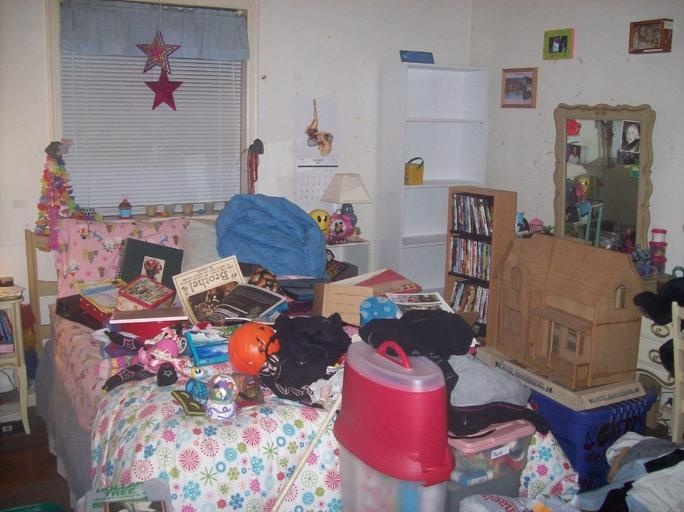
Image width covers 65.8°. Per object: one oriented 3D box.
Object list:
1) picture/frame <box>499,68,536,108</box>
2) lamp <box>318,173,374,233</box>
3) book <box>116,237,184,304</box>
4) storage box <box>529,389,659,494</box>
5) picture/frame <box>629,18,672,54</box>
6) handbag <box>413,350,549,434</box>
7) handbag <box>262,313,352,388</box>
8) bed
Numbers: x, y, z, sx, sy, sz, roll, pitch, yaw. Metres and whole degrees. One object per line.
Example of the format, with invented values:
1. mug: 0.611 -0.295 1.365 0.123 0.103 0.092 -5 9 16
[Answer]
1. picture/frame: 1.511 -1.446 4.528 0.026 0.359 0.370 -8 11 -35
2. lamp: 0.008 -0.505 4.318 0.301 0.270 0.300 -8 13 -37
3. book: -1.352 0.131 3.607 0.453 0.431 0.108 13 -12 -15
4. storage box: 1.371 0.950 2.952 0.499 0.489 0.624 -4 6 -25
5. picture/frame: 2.105 -1.501 3.599 0.100 0.243 0.282 -4 8 -26
6. handbag: 0.656 0.654 2.393 0.538 0.364 0.350 -5 11 -20
7. handbag: -0.150 0.426 2.497 0.347 0.225 0.500 1 11 12
8. bed: -0.932 0.467 2.990 1.429 1.185 1.915 -3 5 -35
